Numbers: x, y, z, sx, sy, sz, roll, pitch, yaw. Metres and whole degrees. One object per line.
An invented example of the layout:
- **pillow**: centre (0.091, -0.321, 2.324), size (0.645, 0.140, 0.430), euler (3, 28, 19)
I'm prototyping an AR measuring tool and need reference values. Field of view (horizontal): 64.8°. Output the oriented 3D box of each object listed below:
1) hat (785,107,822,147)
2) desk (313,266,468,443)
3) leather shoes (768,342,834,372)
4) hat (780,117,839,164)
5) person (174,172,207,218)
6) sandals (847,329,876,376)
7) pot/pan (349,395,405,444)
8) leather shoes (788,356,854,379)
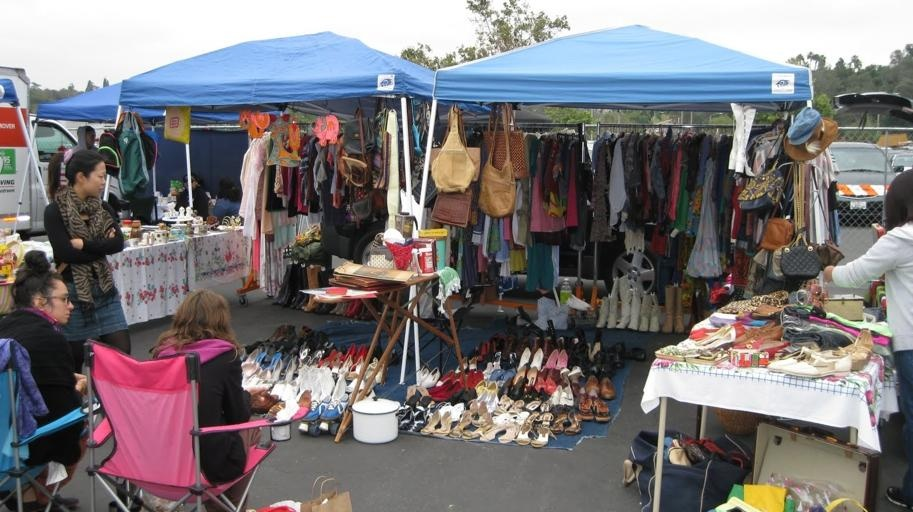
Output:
- **hat**: centre (3.275, -1.226, 6.771), size (0.281, 0.363, 0.256), euler (4, 9, 25)
- **desk**: centre (-0.728, 0.998, 8.145), size (1.666, 2.012, 2.004), euler (-1, 10, -6)
- **leather shoes**: centre (2.797, 0.839, 5.829), size (0.372, 0.134, 0.240), euler (-2, 0, -20)
- **hat**: centre (3.394, -1.090, 6.853), size (0.136, 0.467, 0.399), euler (30, -10, -35)
- **person**: centre (-4.499, -1.027, 12.199), size (0.537, 0.688, 1.165), euler (-3, 8, -21)
- **sandals**: centre (3.303, 0.761, 5.876), size (0.164, 0.170, 0.460), euler (-6, 30, 43)
- **pot/pan**: centre (-0.814, 1.629, 7.105), size (0.477, 0.314, 0.369), euler (1, 5, 10)
- **leather shoes**: centre (2.903, 0.885, 5.703), size (0.361, 0.130, 0.214), euler (0, 0, 3)
